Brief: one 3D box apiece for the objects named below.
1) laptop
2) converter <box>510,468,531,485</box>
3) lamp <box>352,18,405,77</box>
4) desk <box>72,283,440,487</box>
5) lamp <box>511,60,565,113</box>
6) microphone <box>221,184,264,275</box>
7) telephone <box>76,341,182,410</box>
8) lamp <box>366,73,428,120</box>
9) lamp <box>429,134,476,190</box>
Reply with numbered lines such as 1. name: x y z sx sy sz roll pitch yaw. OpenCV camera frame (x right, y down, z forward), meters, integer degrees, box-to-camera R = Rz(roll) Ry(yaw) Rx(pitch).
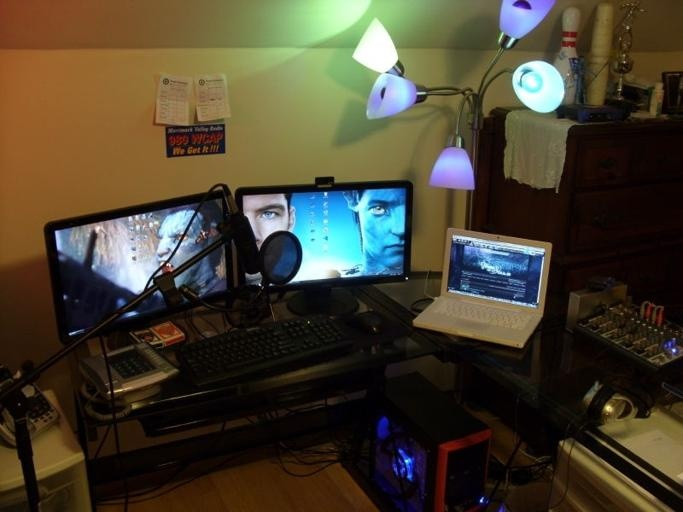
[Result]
1. laptop: 0.535 0.091 2.044 0.404 0.307 0.355 9 18 31
2. converter: 0.786 0.961 2.378 0.055 0.014 0.056 16 34 33
3. lamp: 0.138 -0.810 2.104 0.134 0.228 0.164 6 20 36
4. desk: -0.340 0.288 1.917 1.013 0.521 0.527 2 19 -37
5. lamp: 0.714 -0.649 2.023 0.126 0.064 0.195 -18 -12 20
6. microphone: -0.312 -0.067 1.643 0.106 0.307 0.167 -9 16 -9
7. telephone: -0.676 0.365 1.725 0.195 0.072 0.197 -13 32 -36
8. lamp: 0.214 -0.612 2.171 0.182 0.231 0.188 2 -3 -11
9. lamp: 0.444 -0.380 2.167 0.231 0.214 0.233 13 12 42
